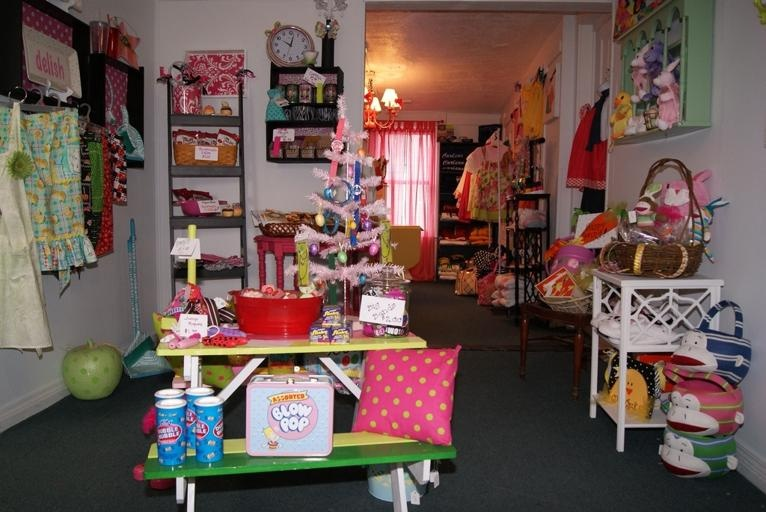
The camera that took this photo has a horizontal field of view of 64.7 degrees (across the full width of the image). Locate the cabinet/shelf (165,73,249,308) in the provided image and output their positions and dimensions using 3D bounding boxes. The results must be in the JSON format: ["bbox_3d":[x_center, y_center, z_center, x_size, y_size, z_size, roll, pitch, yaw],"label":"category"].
[{"bbox_3d":[-1.637,-0.797,5.577,0.738,2.001,0.307,-1,-29,-16],"label":"cabinet/shelf"}]

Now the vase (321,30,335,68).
[{"bbox_3d":[-0.490,-1.843,5.404,0.108,0.308,0.175,0,14,-4],"label":"vase"}]

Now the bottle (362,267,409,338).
[{"bbox_3d":[-0.042,0.248,3.392,0.322,0.448,0.320,1,4,0],"label":"bottle"}]

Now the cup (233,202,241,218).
[{"bbox_3d":[-1.311,-0.410,5.486,0.078,0.111,0.110,-1,-11,1],"label":"cup"}]

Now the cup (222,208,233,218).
[{"bbox_3d":[-1.391,-0.378,5.399,0.080,0.088,0.220,-1,0,-14],"label":"cup"}]

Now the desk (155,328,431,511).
[{"bbox_3d":[-0.507,0.678,3.191,1.077,0.669,1.135,-1,2,4],"label":"desk"}]

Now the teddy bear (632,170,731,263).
[{"bbox_3d":[1.905,-0.267,3.998,0.527,0.590,0.428,-4,15,-18],"label":"teddy bear"}]

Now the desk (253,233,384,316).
[{"bbox_3d":[-0.788,0.199,5.298,0.747,0.721,0.693,-2,3,-40],"label":"desk"}]

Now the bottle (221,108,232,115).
[{"bbox_3d":[-1.379,-1.268,5.323,0.067,0.060,0.067,-9,15,-26],"label":"bottle"}]

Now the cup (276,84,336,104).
[{"bbox_3d":[-0.643,-1.408,5.378,0.350,0.131,0.216,1,9,5],"label":"cup"}]

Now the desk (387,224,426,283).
[{"bbox_3d":[0.355,-0.056,9.312,0.716,1.092,0.724,1,5,5],"label":"desk"}]

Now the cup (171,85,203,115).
[{"bbox_3d":[-1.701,-1.374,5.346,0.249,0.283,0.253,3,17,-1],"label":"cup"}]

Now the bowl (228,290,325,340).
[{"bbox_3d":[-0.601,0.321,3.416,0.480,0.194,0.475,2,-1,0],"label":"bowl"}]

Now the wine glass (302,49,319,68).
[{"bbox_3d":[-0.652,-1.778,5.501,0.155,0.161,0.161,4,6,38],"label":"wine glass"}]

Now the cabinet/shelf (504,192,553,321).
[{"bbox_3d":[1.765,-0.167,7.466,0.541,1.353,1.739,4,15,12],"label":"cabinet/shelf"}]
